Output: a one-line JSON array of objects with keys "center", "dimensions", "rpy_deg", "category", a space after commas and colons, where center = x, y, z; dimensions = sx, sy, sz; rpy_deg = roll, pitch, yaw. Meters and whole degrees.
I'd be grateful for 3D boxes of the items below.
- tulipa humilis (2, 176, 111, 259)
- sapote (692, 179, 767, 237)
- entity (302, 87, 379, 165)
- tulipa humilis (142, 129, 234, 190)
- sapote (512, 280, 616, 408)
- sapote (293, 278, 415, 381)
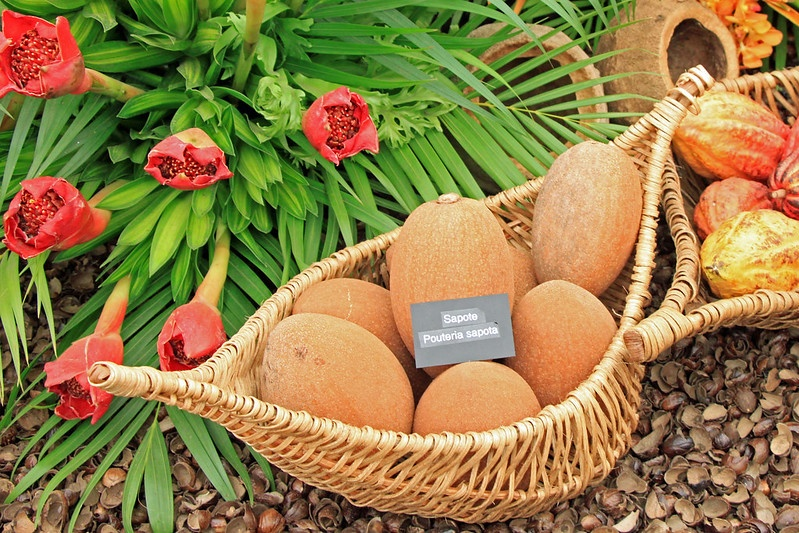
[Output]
[{"center": [-0.559, -0.081, 1.145], "dimensions": [0.105, 0.188, 0.092], "rpy_deg": [-47, 64, 25], "category": "tulipa humilis"}, {"center": [0.599, -0.106, 1.206], "dimensions": [0.061, 0.111, 0.113], "rpy_deg": [23, 95, 22], "category": "sapote"}, {"center": [-0.101, -0.242, 1.162], "dimensions": [0.132, 0.073, 0.131], "rpy_deg": [-21, 98, 9], "category": "entity"}, {"center": [-0.359, -0.167, 1.111], "dimensions": [0.116, 0.063, 0.113], "rpy_deg": [1, 75, -12], "category": "tulipa humilis"}, {"center": [0.247, 0.112, 1.077], "dimensions": [0.140, 0.141, 0.187], "rpy_deg": [31, 94, 24], "category": "sapote"}, {"center": [-0.063, 0.078, 1.129], "dimensions": [0.198, 0.122, 0.131], "rpy_deg": [38, 105, 24], "category": "sapote"}]
